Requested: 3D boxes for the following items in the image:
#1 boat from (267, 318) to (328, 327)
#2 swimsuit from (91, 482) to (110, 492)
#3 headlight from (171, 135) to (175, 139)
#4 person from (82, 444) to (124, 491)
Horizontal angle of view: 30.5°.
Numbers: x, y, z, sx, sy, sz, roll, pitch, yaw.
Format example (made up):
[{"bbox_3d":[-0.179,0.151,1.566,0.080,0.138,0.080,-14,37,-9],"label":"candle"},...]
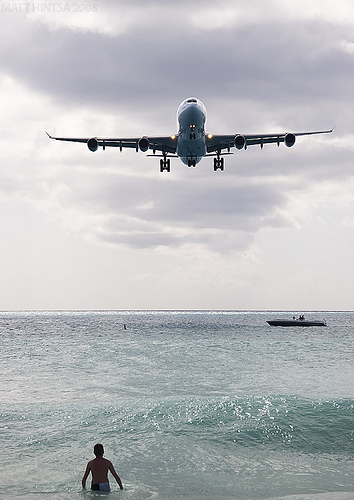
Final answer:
[{"bbox_3d":[23.857,14.661,130.751,10.028,2.026,12.939,0,-2,5],"label":"boat"},{"bbox_3d":[-2.849,8.818,24.205,0.683,0.356,0.158,0,-3,4],"label":"swimsuit"},{"bbox_3d":[-0.274,-8.712,49.784,0.284,0.180,0.050,-3,-3,-3],"label":"headlight"},{"bbox_3d":[-2.789,8.003,23.856,1.416,1.898,1.185,1,-3,-3],"label":"person"}]
